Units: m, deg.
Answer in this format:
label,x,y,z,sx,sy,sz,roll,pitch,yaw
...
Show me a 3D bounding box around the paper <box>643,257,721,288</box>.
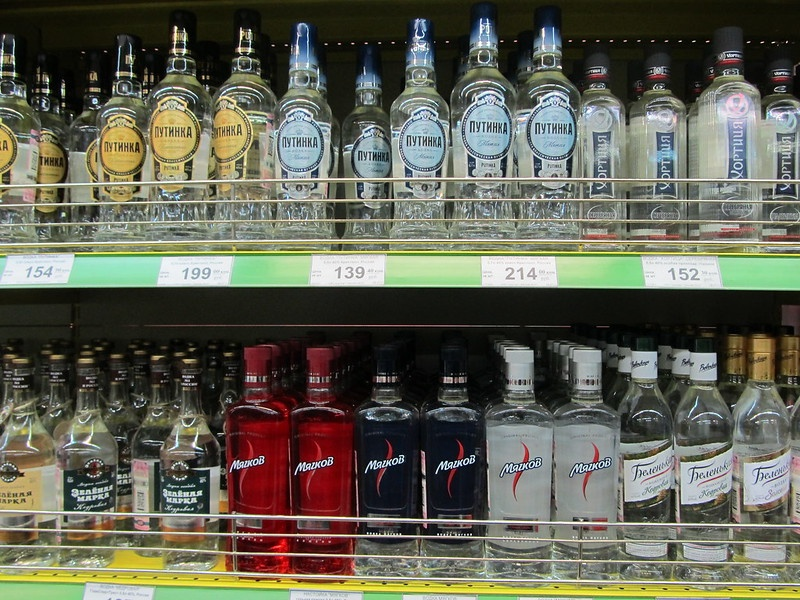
label,x,y,z,sx,sy,sz,roll,pitch,yaw
paper,0.628,-0.063,1.992,0.126,0.083,0.025,-3,-18,-2
